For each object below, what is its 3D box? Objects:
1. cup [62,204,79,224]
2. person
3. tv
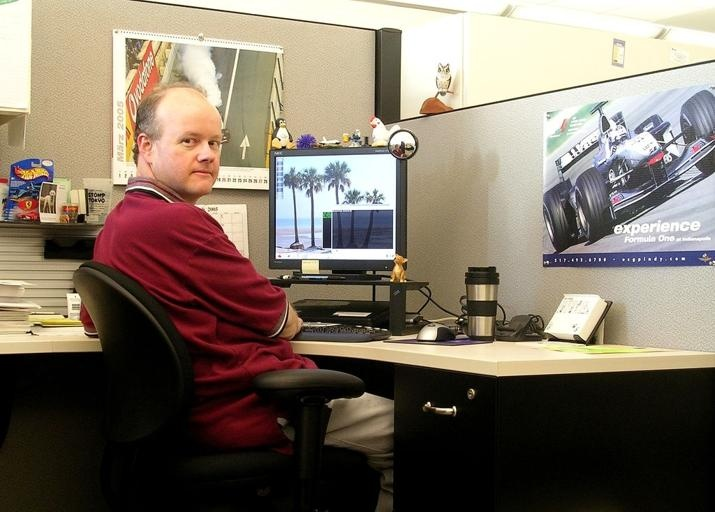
[{"bbox_3d":[-1.030,-0.152,1.944,0.047,0.064,0.021,-1,3,-28],"label":"cup"},{"bbox_3d":[-0.506,0.025,2.052,1.103,1.565,0.903,-2,-1,-33],"label":"person"},{"bbox_3d":[-0.058,-0.154,1.888,0.517,0.399,0.174,0,-4,8],"label":"tv"}]
